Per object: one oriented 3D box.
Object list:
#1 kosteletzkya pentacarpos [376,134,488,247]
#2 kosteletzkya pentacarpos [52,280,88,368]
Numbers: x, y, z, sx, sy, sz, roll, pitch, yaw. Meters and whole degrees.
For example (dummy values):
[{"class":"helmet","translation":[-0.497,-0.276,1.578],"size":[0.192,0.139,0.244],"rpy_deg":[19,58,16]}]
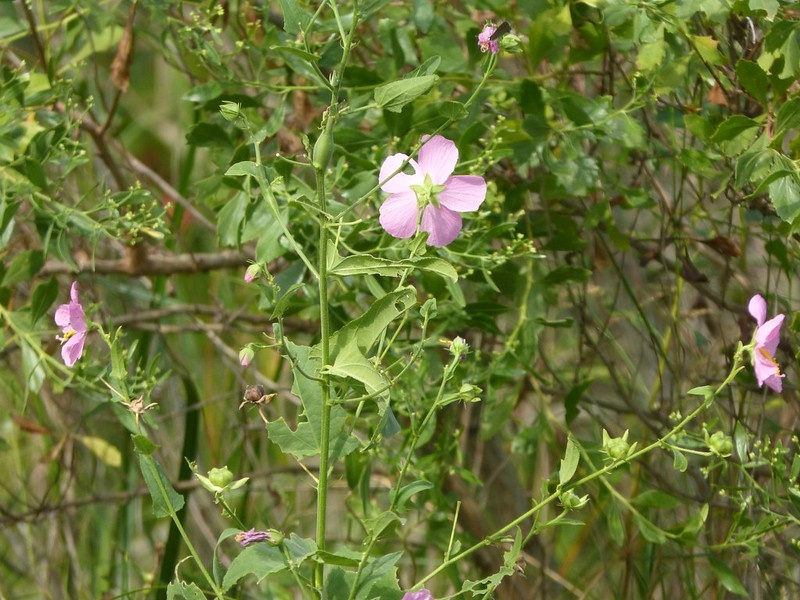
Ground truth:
[{"class":"kosteletzkya pentacarpos","translation":[0.040,-0.128,1.295],"size":[0.124,0.157,0.103],"rpy_deg":[-11,-31,34]},{"class":"kosteletzkya pentacarpos","translation":[-0.513,0.038,1.516],"size":[0.060,0.137,0.109],"rpy_deg":[-3,-11,-16]}]
